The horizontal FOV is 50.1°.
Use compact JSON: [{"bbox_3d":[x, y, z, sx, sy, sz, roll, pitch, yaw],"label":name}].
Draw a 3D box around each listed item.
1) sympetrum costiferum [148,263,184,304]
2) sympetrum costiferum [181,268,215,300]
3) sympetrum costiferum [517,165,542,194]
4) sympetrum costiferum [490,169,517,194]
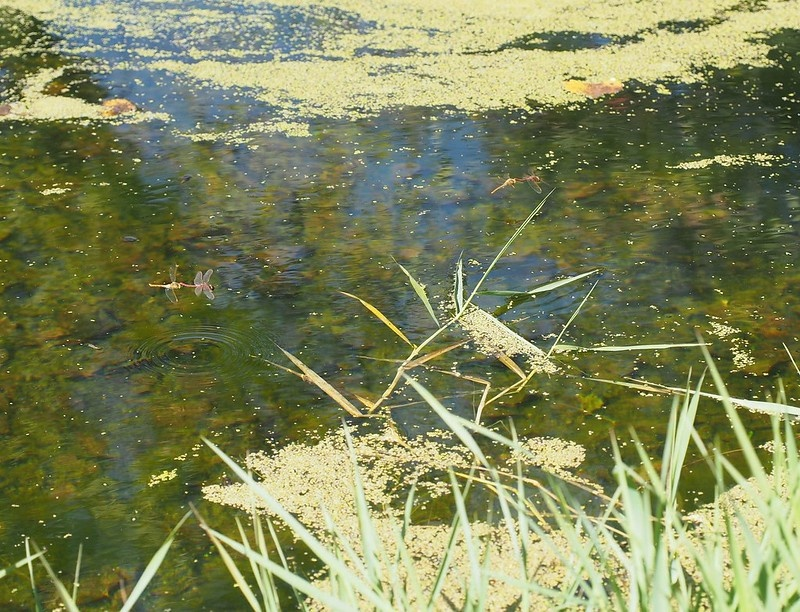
[{"bbox_3d":[-1.012,-0.096,3.722,0.138,0.120,0.225,-12,22,-13],"label":"sympetrum costiferum"},{"bbox_3d":[-0.850,-0.090,3.716,0.198,0.050,0.154,9,51,-8],"label":"sympetrum costiferum"},{"bbox_3d":[0.681,-0.637,4.362,0.193,0.025,0.156,7,42,-4],"label":"sympetrum costiferum"},{"bbox_3d":[0.526,-0.627,4.347,0.114,0.042,0.121,27,48,11],"label":"sympetrum costiferum"}]
